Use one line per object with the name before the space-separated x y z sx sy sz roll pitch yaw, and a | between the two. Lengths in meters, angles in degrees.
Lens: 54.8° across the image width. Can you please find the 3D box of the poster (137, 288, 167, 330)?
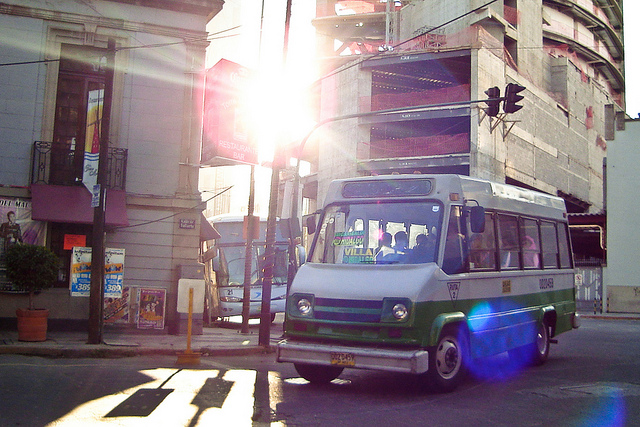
poster | -5.580 3.112 20.294 1.243 1.808 0.194 2 -10 -17

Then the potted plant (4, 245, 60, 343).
potted plant | -8.343 2.288 17.870 1.317 2.733 2.427 2 -2 -23

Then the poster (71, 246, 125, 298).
poster | -7.185 1.857 20.137 1.633 1.668 0.560 3 10 -9

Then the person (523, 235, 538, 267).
person | 5.305 0.968 15.629 0.208 0.742 0.507 -3 -2 27

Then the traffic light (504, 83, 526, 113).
traffic light | 6.563 -3.965 21.077 0.556 1.118 1.013 1 -2 17

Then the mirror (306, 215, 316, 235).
mirror | -0.227 0.236 14.685 0.225 0.430 0.548 2 -2 -1

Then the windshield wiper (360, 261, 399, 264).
windshield wiper | 1.258 1.031 13.231 0.808 0.067 0.073 1 -2 20

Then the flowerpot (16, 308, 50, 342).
flowerpot | -8.013 3.108 17.213 0.846 0.865 0.852 -1 -3 21

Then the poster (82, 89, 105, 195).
poster | -7.206 -2.378 19.705 0.636 3.255 0.039 2 -2 28
